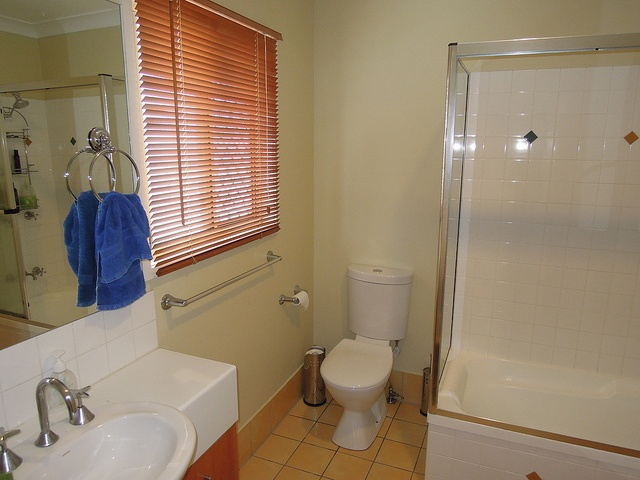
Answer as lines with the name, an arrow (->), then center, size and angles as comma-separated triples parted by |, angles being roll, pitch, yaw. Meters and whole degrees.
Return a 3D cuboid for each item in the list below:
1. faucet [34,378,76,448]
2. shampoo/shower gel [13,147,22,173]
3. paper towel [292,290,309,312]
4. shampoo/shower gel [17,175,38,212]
faucet -> -1.005, 0.620, 1.845 | 0.150, 0.241, 0.183 | -6, 16, -19
shampoo/shower gel -> -1.113, -0.287, 1.782 | 0.024, 0.083, 0.015 | -13, 18, -37
paper towel -> -0.135, 0.423, 3.387 | 0.085, 0.101, 0.135 | 3, -23, -4
shampoo/shower gel -> -1.111, -0.165, 1.848 | 0.073, 0.116, 0.074 | -11, -6, 19
